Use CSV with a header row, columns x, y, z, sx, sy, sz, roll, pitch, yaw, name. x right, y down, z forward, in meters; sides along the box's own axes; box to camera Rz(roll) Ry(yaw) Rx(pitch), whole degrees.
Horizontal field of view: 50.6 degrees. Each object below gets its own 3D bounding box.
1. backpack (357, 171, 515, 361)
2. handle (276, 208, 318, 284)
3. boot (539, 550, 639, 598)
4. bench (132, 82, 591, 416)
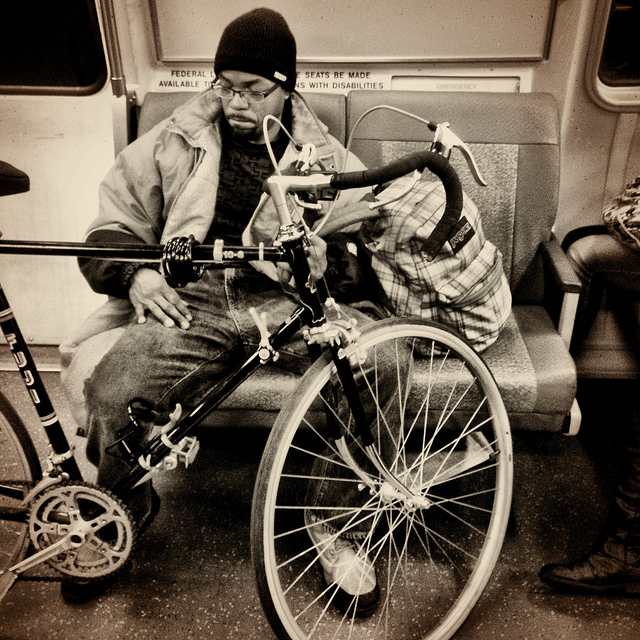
x,y,z,sx,sy,sz,roll,pitch,yaw,name
0.334,-0.179,2.000,0.464,0.505,0.428,15,57,31,backpack
-0.061,-0.191,1.731,0.067,0.190,0.128,13,7,-13,handle
0.673,0.663,1.797,0.287,0.149,0.106,4,-16,7,boot
0.148,-0.197,2.163,1.385,0.857,0.783,1,35,0,bench
